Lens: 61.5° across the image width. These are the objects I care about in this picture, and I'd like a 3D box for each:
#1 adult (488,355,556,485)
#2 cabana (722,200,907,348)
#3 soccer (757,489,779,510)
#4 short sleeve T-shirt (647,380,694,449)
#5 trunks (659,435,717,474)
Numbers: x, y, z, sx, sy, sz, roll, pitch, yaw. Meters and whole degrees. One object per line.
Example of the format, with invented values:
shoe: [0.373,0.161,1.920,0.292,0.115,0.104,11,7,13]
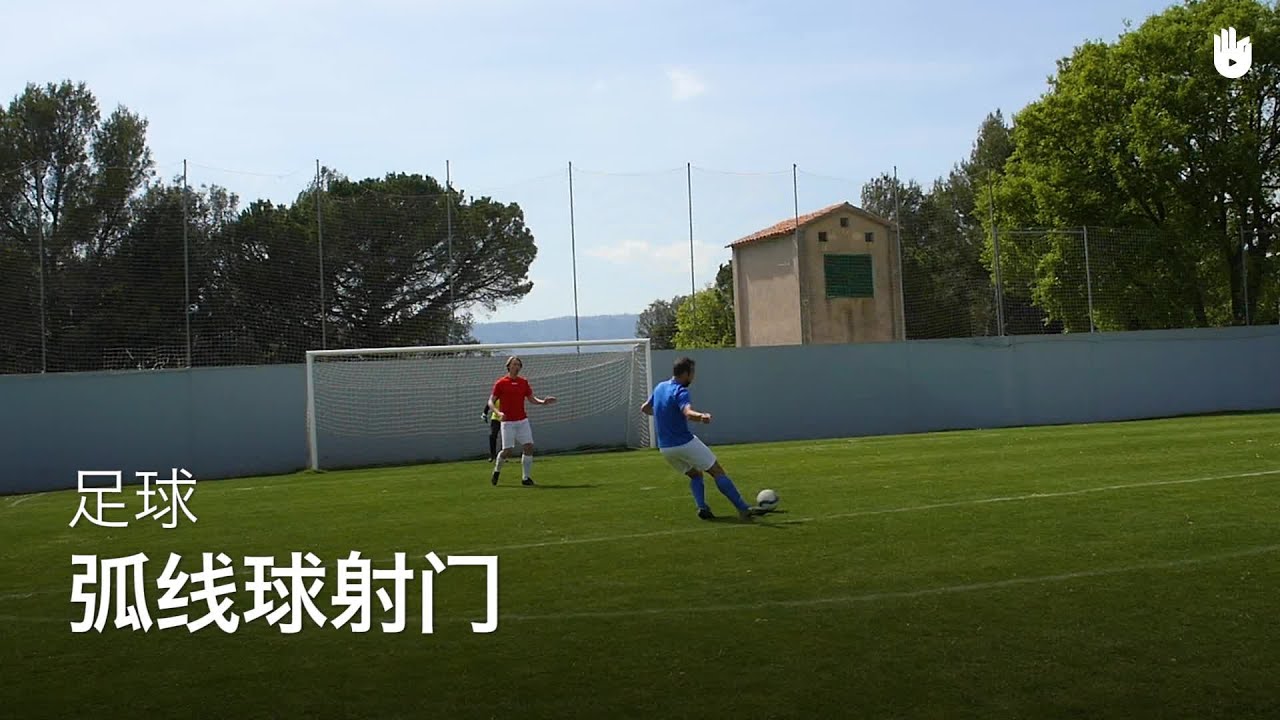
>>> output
adult: [-2.490,1.343,22.857,1.603,2.685,1.014,-2,-1,-7]
cabana: [6.187,-2.899,37.079,5.473,4.648,1.648,-3,-2,10]
soccer: [2.365,2.547,19.651,0.395,0.360,0.377,13,0,-24]
short sleeve T-shirt: [0.584,0.974,19.171,0.771,1.213,0.357,-4,-3,34]
trunks: [0.849,1.777,19.871,1.036,0.739,0.564,-11,28,37]
